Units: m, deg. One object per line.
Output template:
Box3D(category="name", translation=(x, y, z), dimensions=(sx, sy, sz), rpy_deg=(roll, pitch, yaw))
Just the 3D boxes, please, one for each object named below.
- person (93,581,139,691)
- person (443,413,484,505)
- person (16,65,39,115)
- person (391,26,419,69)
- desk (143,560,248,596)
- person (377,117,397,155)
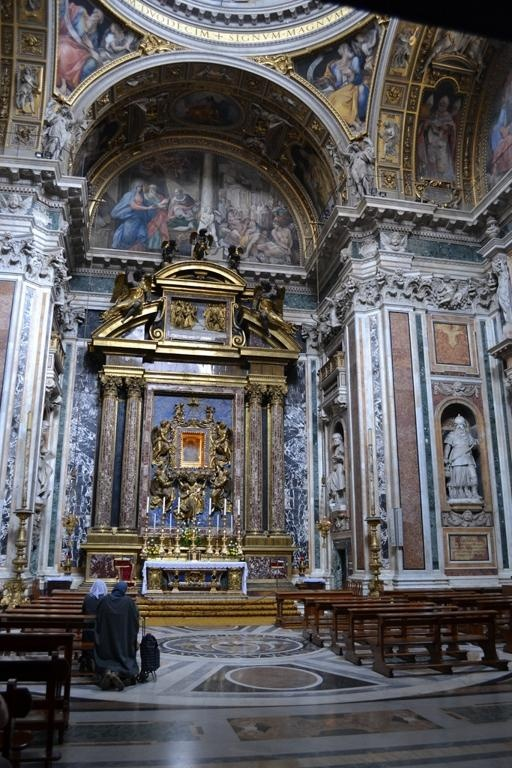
Box3D(category="person", translation=(-1.340, 2.362, 6.851), dimensions=(0.399, 0.924, 0.375), rpy_deg=(2, 0, -7))
Box3D(category="person", translation=(4.191, 1.566, 14.460), dimensions=(0.768, 1.827, 0.460), rpy_deg=(-2, -19, 4))
Box3D(category="person", translation=(-4.706, -6.006, 14.511), dimensions=(0.433, 0.891, 0.349), rpy_deg=(5, -19, -18))
Box3D(category="person", translation=(3.199, -7.318, 15.333), dimensions=(0.469, 0.549, 0.720), rpy_deg=(1, -18, -6))
Box3D(category="desk", translation=(-1.260, 3.919, 14.440), dimensions=(2.099, 0.693, 0.874), rpy_deg=(2, -18, -10))
Box3D(category="person", translation=(3.002, -5.594, 16.007), dimensions=(0.487, 0.874, 0.300), rpy_deg=(1, -19, -7))
